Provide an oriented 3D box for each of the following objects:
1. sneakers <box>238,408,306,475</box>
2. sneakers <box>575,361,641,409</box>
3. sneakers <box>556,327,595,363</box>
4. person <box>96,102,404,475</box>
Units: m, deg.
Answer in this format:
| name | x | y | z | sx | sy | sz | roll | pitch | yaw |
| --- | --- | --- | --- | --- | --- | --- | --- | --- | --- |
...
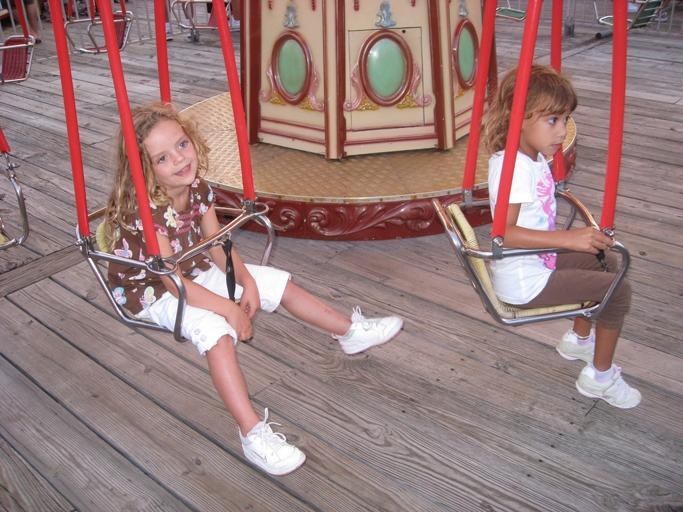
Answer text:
| name | x | y | z | sx | sy | sz | roll | pitch | yaw |
| --- | --- | --- | --- | --- | --- | --- | --- | --- | --- |
| sneakers | -0.164 | 0.435 | 1.112 | 0.130 | 0.112 | 0.069 | 15 | 35 | 29 |
| sneakers | 0.745 | 0.341 | 1.290 | 0.224 | 0.076 | 0.081 | 12 | 21 | -11 |
| sneakers | 0.670 | 0.262 | 1.375 | 0.145 | 0.054 | 0.056 | 10 | 23 | -36 |
| person | -0.288 | 0.058 | 1.172 | 0.599 | 0.798 | 0.487 | 11 | 34 | 22 |
